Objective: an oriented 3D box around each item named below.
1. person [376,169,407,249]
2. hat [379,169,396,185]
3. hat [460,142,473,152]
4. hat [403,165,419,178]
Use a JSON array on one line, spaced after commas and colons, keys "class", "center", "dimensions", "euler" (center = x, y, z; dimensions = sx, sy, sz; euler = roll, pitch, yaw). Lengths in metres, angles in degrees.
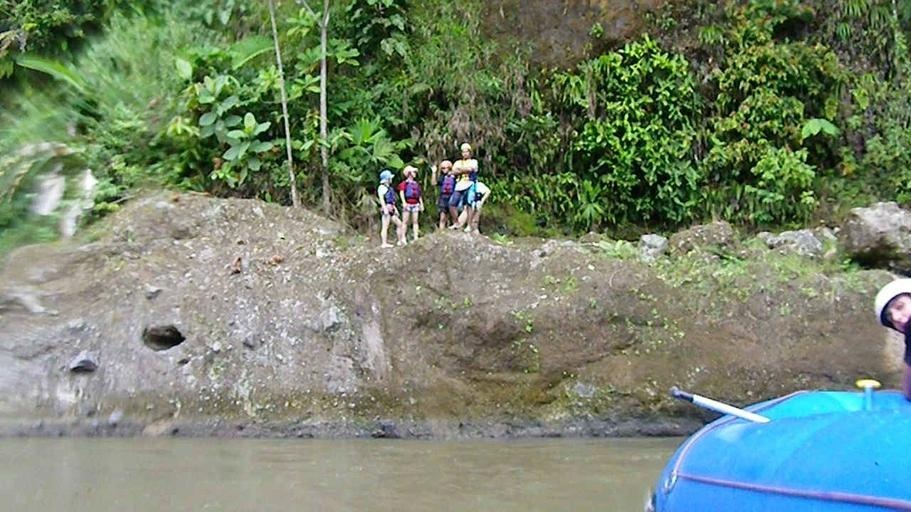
[{"class": "person", "center": [-1.399, -0.807, 20.265], "dimensions": [0.522, 1.651, 1.438], "euler": [-6, 47, -4]}, {"class": "hat", "center": [-1.463, -1.693, 20.158], "dimensions": [0.158, 0.314, 0.322], "euler": [50, 35, -8]}, {"class": "hat", "center": [0.217, -2.327, 20.339], "dimensions": [0.220, 0.131, 0.240], "euler": [1, 11, 1]}, {"class": "hat", "center": [-0.980, -1.794, 20.233], "dimensions": [0.293, 0.310, 0.240], "euler": [7, 2, -11]}]
